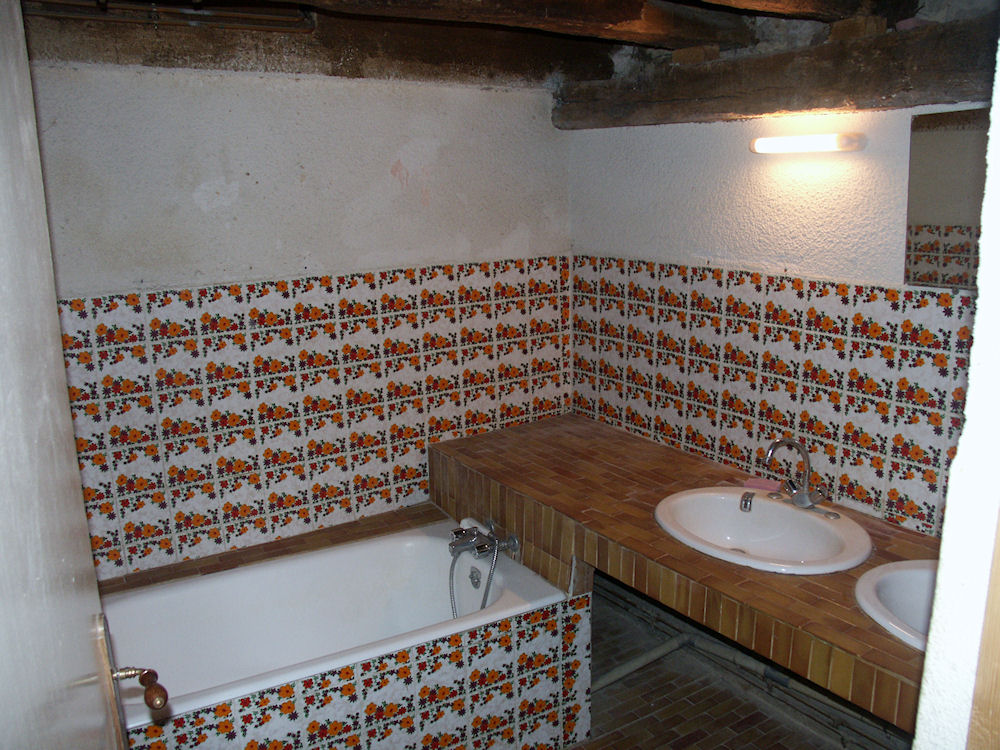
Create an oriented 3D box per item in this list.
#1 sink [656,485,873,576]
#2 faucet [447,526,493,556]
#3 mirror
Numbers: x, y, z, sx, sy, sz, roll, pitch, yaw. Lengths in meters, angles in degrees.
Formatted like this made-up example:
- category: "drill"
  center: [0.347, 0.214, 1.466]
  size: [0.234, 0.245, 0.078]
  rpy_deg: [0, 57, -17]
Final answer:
- category: "sink"
  center: [0.880, 0.555, 2.700]
  size: [0.698, 0.188, 0.470]
  rpy_deg: [4, 15, 37]
- category: "faucet"
  center: [-0.117, 0.669, 3.196]
  size: [0.126, 0.054, 0.120]
  rpy_deg: [7, 12, 27]
- category: "mirror"
  center: [1.396, -0.543, 2.463]
  size: [0.070, 0.546, 0.287]
  rpy_deg: [-8, 12, -16]
